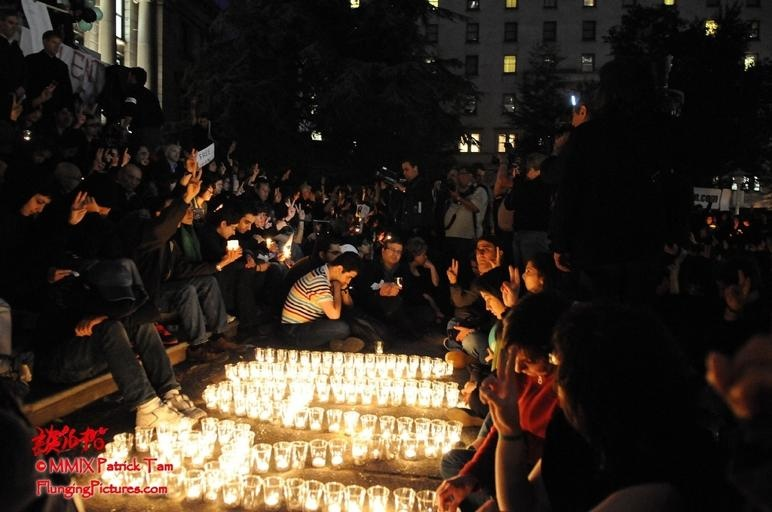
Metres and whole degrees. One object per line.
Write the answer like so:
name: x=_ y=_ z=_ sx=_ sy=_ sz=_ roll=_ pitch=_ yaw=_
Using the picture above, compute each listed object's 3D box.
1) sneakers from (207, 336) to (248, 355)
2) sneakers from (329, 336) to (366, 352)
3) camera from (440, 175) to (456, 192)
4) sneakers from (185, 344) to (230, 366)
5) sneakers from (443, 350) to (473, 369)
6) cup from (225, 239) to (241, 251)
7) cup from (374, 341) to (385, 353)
sneakers: x=-2.103 y=1.168 z=8.848 sx=0.559 sy=0.210 sz=0.183 roll=0 pitch=5 yaw=-11
sneakers: x=-0.525 y=1.206 z=9.145 sx=0.315 sy=0.125 sz=0.229 roll=1 pitch=1 yaw=3
camera: x=1.204 y=-1.381 z=12.797 sx=0.308 sy=0.149 sz=0.419 roll=3 pitch=-6 yaw=-2
sneakers: x=-2.265 y=1.253 z=8.537 sx=0.533 sy=0.226 sz=0.207 roll=-1 pitch=7 yaw=-12
sneakers: x=0.918 y=1.340 z=8.627 sx=0.370 sy=0.174 sz=0.182 roll=10 pitch=13 yaw=-12
cup: x=-1.980 y=-0.137 z=8.660 sx=0.196 sy=0.136 sz=0.190 roll=-2 pitch=11 yaw=0
cup: x=-0.094 y=1.225 z=9.072 sx=0.156 sy=0.162 sz=0.153 roll=0 pitch=-4 yaw=0
